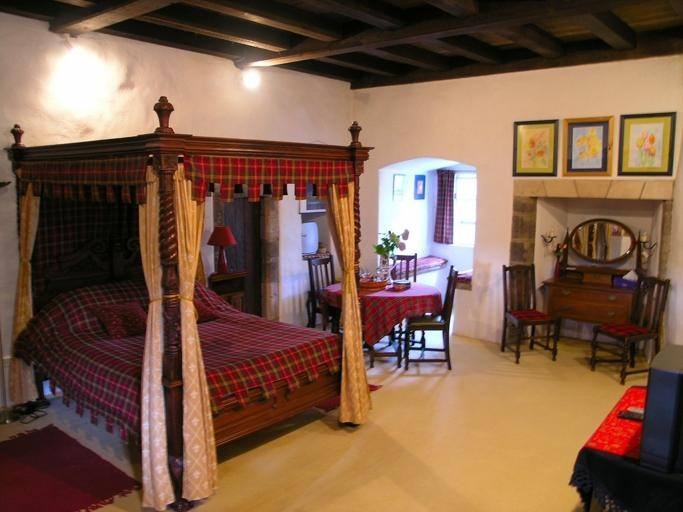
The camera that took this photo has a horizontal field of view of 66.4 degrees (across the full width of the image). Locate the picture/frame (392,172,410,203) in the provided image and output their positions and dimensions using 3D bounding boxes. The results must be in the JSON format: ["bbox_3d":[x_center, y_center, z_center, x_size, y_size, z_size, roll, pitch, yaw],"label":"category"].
[{"bbox_3d":[1.058,-1.279,9.527,0.053,0.538,0.554,5,8,33],"label":"picture/frame"}]

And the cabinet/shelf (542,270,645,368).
[{"bbox_3d":[3.589,0.728,7.708,1.474,1.411,0.871,2,3,41],"label":"cabinet/shelf"}]

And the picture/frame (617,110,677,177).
[{"bbox_3d":[3.932,-1.473,6.686,0.793,1.086,0.077,6,11,38],"label":"picture/frame"}]

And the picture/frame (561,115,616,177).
[{"bbox_3d":[3.360,-1.524,7.063,0.800,1.083,0.083,5,8,37],"label":"picture/frame"}]

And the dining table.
[{"bbox_3d":[0.632,0.842,7.053,1.249,0.802,1.285,4,11,26],"label":"dining table"}]

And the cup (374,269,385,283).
[{"bbox_3d":[0.536,0.278,7.578,0.156,0.182,0.157,3,-3,0],"label":"cup"}]

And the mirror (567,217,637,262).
[{"bbox_3d":[3.957,-0.254,7.867,0.614,0.506,0.047,10,14,40],"label":"mirror"}]

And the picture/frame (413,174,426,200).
[{"bbox_3d":[1.497,-1.363,10.169,0.039,0.576,0.492,5,8,33],"label":"picture/frame"}]
